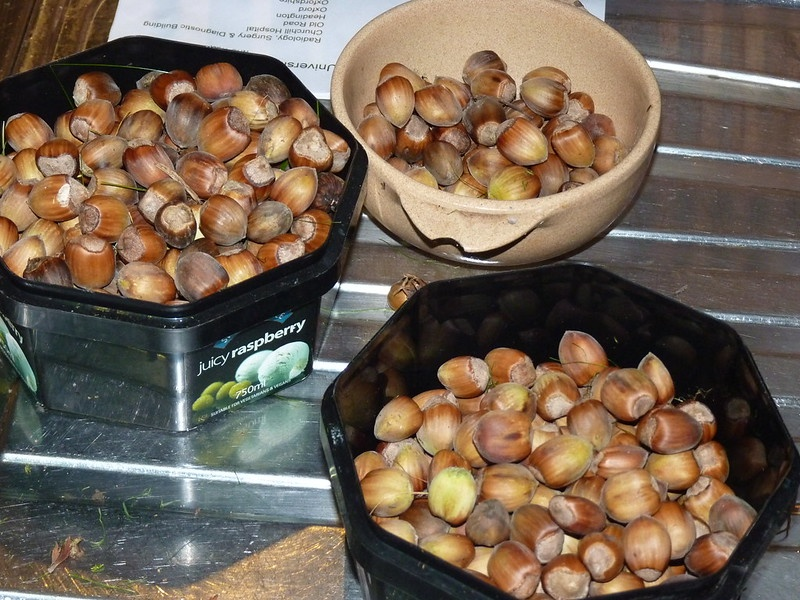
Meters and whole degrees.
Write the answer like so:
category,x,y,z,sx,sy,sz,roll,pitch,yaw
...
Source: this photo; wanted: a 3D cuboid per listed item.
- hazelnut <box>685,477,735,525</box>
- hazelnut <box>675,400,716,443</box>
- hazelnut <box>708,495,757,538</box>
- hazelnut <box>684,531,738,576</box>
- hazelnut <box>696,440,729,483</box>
category,x,y,z,sx,sy,sz,roll,pitch,yaw
hazelnut,0.453,0.292,1.169,0.057,0.070,0.041,-24,101,-10
hazelnut,0.452,0.187,1.218,0.056,0.034,0.062,-12,84,-18
hazelnut,0.476,0.308,1.122,0.049,0.036,0.056,8,78,19
hazelnut,0.433,0.349,1.085,0.051,0.039,0.063,33,112,-6
hazelnut,0.475,0.245,1.192,0.051,0.031,0.056,-5,78,7
